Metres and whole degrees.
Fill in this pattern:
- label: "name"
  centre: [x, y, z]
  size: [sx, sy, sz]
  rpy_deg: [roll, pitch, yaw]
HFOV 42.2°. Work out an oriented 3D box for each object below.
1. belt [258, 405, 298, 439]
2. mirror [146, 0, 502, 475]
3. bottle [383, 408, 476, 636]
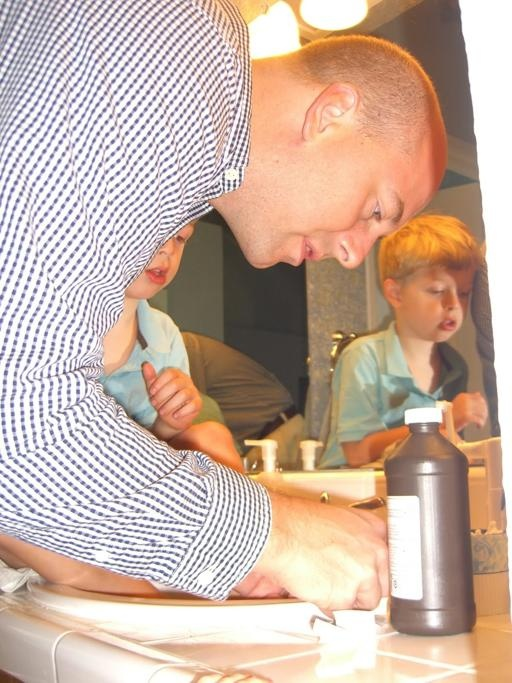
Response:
- label: "belt"
  centre: [0.051, 0.177, 1.447]
  size: [0.021, 0.022, 0.114]
  rpy_deg: [35, -55, -29]
- label: "mirror"
  centre: [0.220, -0.051, 1.864]
  size: [0.911, 1.376, 0.810]
  rpy_deg: [11, -22, -33]
- label: "bottle"
  centre: [0.154, 0.161, 0.593]
  size: [0.076, 0.200, 0.040]
  rpy_deg: [0, -2, 11]
